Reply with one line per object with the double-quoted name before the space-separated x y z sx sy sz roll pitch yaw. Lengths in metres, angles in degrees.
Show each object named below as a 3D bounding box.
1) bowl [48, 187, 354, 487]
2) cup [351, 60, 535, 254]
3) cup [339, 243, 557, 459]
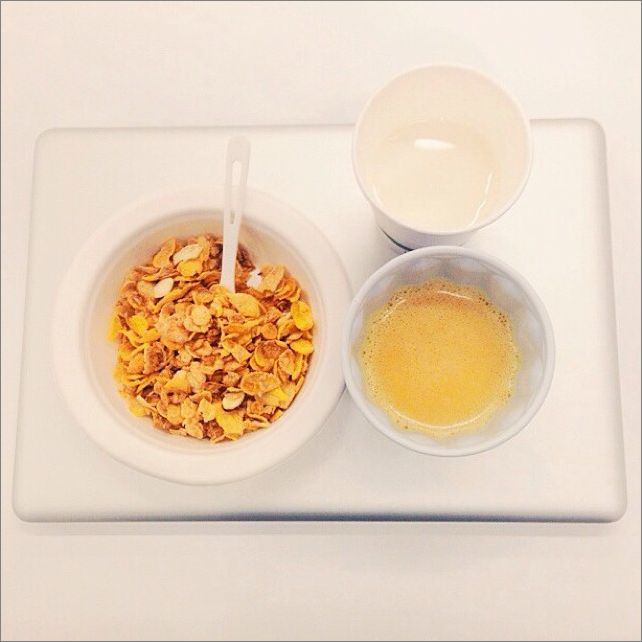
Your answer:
"bowl" -0.184 0.010 0.765 0.350 0.093 0.376 0 79 -2
"cup" 0.137 -0.191 0.812 0.201 0.092 0.206 1 69 -4
"cup" 0.140 0.040 0.786 0.235 0.114 0.223 1 69 -4
